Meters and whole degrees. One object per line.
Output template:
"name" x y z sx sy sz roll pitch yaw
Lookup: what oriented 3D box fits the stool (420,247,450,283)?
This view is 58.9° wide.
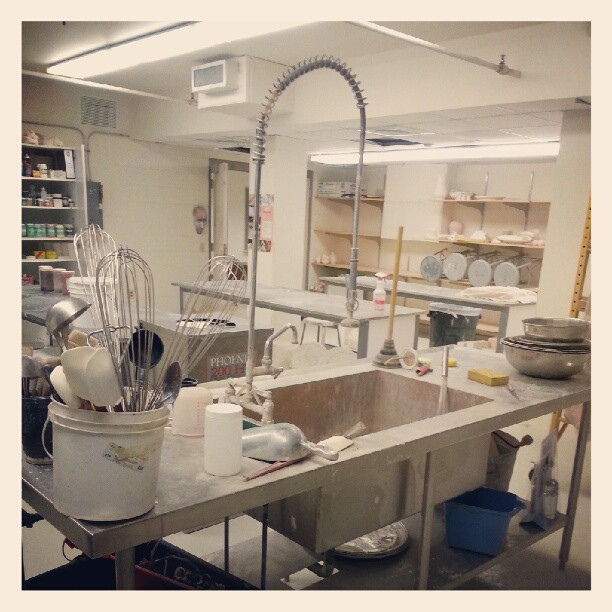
"stool" 1.799 -0.559 7.530 0.185 0.548 0.313 15 31 5

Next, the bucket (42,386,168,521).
"bucket" -0.344 0.275 0.945 0.180 0.219 0.145 -7 17 -36

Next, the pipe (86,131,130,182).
"pipe" -2.746 -2.058 7.411 0.056 0.689 0.581 9 12 35

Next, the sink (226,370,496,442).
"sink" 0.029 0.383 2.169 0.452 0.196 0.311 -6 -4 -28

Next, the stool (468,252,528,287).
"stool" 2.456 -0.461 6.904 0.584 0.387 1.864 7 11 24

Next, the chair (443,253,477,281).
"chair" 1.919 -0.492 6.852 0.218 0.267 0.369 -3 8 -28

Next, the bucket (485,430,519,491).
"bucket" 0.784 0.636 2.214 0.147 0.261 0.163 10 13 24

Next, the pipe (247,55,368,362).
"pipe" -0.009 -1.008 5.413 0.759 2.925 0.903 -3 16 -32

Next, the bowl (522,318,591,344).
"bowl" 1.006 0.099 2.210 0.235 0.087 0.193 6 10 19

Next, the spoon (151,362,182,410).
"spoon" -0.310 0.184 1.235 0.045 0.105 0.175 0 10 -13

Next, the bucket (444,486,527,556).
"bucket" 0.663 0.793 2.060 0.304 0.214 0.266 -1 4 17

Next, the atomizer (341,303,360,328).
"atomizer" 0.172 0.032 1.972 0.083 0.098 0.083 -2 4 -30
